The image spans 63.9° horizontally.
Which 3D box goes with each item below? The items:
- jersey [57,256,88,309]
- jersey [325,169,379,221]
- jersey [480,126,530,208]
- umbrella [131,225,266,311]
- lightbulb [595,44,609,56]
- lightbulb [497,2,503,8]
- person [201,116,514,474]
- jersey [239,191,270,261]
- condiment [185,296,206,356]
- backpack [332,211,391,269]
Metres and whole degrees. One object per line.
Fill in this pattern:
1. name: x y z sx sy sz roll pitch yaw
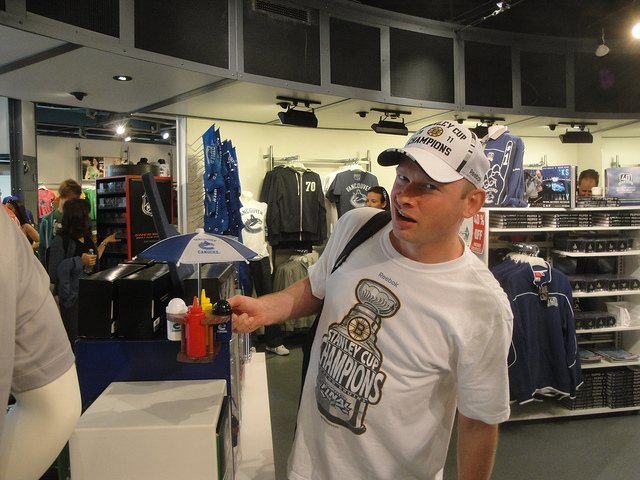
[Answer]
1. jersey: -2.013 0.343 4.144 0.141 0.459 0.338 0 -7 15
2. jersey: 0.481 -0.510 6.440 0.709 0.804 0.212 4 31 9
3. jersey: 1.594 -0.616 4.407 0.526 0.680 0.209 0 9 -9
4. umbrella: -0.578 0.147 2.484 0.572 0.452 0.575 -2 9 -28
5. lightbulb: 3.119 -2.099 5.680 0.102 0.118 0.274 7 12 30
6. lightbulb: 1.799 -2.360 5.136 0.069 0.052 0.017 9 19 23
7. person: 0.270 0.261 2.166 1.045 1.495 0.449 5 10 21
8. jersey: -0.764 -0.149 5.966 0.314 0.795 0.436 0 10 -8
9. condiment: -0.532 0.365 2.207 0.071 0.235 0.074 -6 24 -21
10. backpack: 0.192 -0.036 2.306 0.067 0.277 0.153 40 2 -10
